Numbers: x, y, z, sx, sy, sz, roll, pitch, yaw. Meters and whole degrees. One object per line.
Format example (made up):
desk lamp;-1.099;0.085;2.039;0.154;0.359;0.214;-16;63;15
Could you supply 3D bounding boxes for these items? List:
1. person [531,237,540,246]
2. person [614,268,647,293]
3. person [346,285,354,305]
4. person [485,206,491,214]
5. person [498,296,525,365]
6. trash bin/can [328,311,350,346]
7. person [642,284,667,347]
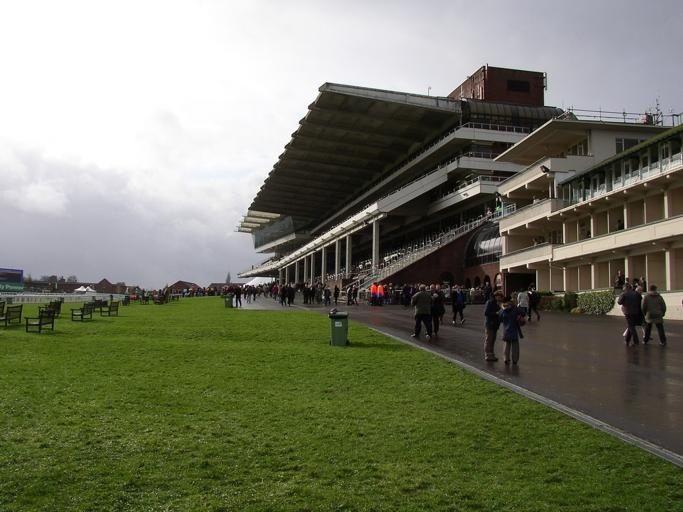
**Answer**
person;15.867;-1.163;44.697;0.462;0.611;1.943;0;1;14
person;14.435;1.241;27.245;0.781;1.505;0.769;10;-29;3
person;0.678;3.315;42.987;0.429;1.098;1.322;0;1;2
person;14.914;-4.531;55.503;0.437;0.783;1.710;0;1;12
person;4.276;1.890;13.754;0.541;1.608;1.590;0;1;17
trash bin/can;-0.080;2.188;16.552;0.579;1.070;0.829;0;1;-1
person;9.329;1.772;16.325;0.614;1.785;1.094;0;1;28
